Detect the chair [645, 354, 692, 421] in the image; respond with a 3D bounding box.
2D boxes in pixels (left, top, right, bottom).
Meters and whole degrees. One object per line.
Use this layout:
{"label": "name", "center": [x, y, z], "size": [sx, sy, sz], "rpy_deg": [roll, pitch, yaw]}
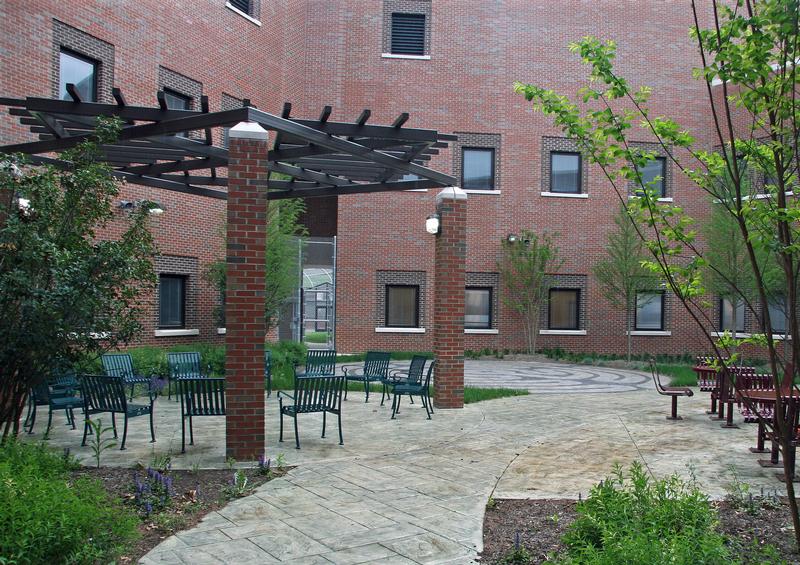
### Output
{"label": "chair", "center": [6.340, 2.503, 19.341], "size": [1.624, 1.683, 1.440], "rpy_deg": [-1, -2, 13]}
